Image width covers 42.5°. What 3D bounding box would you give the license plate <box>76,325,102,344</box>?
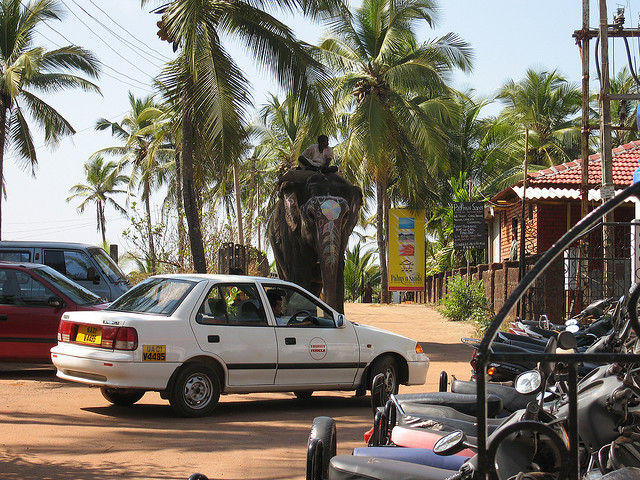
[{"bbox_3d":[-2.828,1.152,10.118,0.480,0.210,0.076,-5,-7,44],"label":"license plate"}]

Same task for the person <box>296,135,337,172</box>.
[{"bbox_3d":[-0.004,-1.842,17.493,0.797,0.916,0.676,9,-13,0],"label":"person"}]

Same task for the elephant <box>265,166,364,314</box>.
[{"bbox_3d":[-0.147,-0.042,18.074,1.662,3.114,3.638,0,-4,-14],"label":"elephant"}]

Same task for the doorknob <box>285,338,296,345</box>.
[{"bbox_3d":[-0.383,1.316,10.824,0.161,0.081,0.043,5,-7,-40],"label":"doorknob"}]

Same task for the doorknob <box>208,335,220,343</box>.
[{"bbox_3d":[-1.325,1.199,10.275,0.081,0.085,0.117,-3,-2,43],"label":"doorknob"}]

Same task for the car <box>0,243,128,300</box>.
[{"bbox_3d":[-5.328,0.545,17.521,1.698,1.039,1.299,0,0,-5],"label":"car"}]
